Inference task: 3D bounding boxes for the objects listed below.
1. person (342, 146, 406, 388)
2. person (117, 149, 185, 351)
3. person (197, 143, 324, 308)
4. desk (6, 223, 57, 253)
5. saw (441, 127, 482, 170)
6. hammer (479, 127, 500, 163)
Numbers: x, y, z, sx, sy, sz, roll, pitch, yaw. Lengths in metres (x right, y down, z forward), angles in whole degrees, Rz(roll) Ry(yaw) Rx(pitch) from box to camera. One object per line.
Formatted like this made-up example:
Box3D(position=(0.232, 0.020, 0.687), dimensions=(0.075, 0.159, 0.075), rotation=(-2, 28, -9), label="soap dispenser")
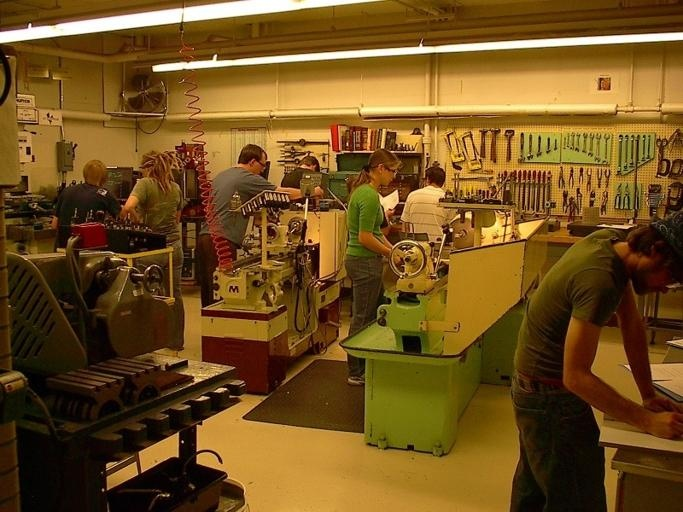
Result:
Box3D(position=(0.273, 0.081, 4.342), dimensions=(0.533, 1.866, 0.546), rotation=(2, 13, 6), label="person")
Box3D(position=(-1.783, -0.018, 5.101), dimensions=(0.541, 1.929, 1.137), rotation=(-3, 11, -17), label="person")
Box3D(position=(-0.939, -0.236, 4.977), dimensions=(0.980, 1.582, 0.567), rotation=(1, 10, 3), label="person")
Box3D(position=(-3.551, -0.188, 6.098), dimensions=(0.563, 0.331, 0.463), rotation=(-4, 12, -19), label="desk")
Box3D(position=(1.682, -1.492, 7.402), dimensions=(0.456, 0.554, 0.143), rotation=(6, 4, 25), label="saw")
Box3D(position=(2.004, -1.509, 7.245), dimensions=(0.258, 0.449, 0.088), rotation=(4, 11, 20), label="hammer")
